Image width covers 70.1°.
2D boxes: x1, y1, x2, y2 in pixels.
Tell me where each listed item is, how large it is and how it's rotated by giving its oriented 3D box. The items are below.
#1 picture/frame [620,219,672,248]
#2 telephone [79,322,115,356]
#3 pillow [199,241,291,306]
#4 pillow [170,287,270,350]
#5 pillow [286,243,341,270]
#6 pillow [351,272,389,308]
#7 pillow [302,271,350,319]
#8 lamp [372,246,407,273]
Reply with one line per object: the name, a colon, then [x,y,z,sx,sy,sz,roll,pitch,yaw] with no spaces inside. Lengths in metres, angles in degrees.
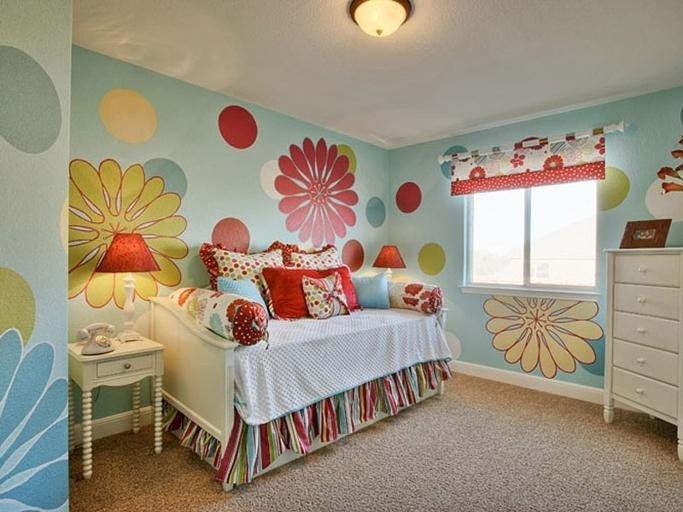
picture/frame: [2.308,-0.167,3.653,0.023,0.209,0.232,23,-11,-27]
telephone: [-1.544,0.511,3.068,0.215,0.197,0.158,0,1,-43]
pillow: [-0.754,0.142,3.705,0.445,0.365,0.141,11,-35,-38]
pillow: [-0.794,0.355,3.180,0.783,0.273,0.248,12,17,43]
pillow: [-0.257,0.025,4.351,0.356,0.110,0.228,3,18,-42]
pillow: [0.259,0.316,4.358,0.299,0.122,0.251,-2,42,2]
pillow: [-0.124,0.318,3.844,0.099,0.342,0.330,-26,-13,40]
lamp: [0.517,0.038,5.039,0.261,0.269,0.272,1,-4,3]
